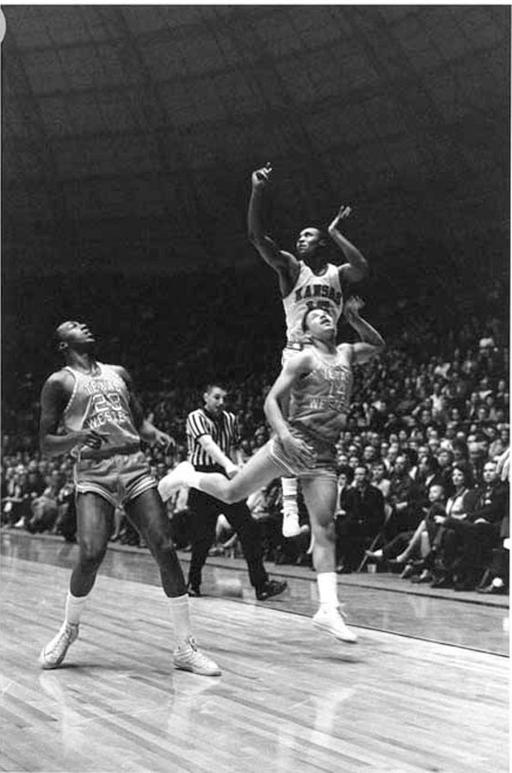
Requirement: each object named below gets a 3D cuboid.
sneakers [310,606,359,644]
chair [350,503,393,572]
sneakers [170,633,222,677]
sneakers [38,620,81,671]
[{"bbox_3d":[0.311,0.956,2.799,0.150,0.129,0.149,2,-10,-5],"label":"sneakers"},{"bbox_3d":[0.809,1.119,5.093,0.303,0.475,0.362,-1,-21,-2],"label":"chair"},{"bbox_3d":[-0.212,0.965,2.527,0.244,0.128,0.087,0,1,41],"label":"sneakers"},{"bbox_3d":[-0.756,0.960,2.619,0.122,0.176,0.306,4,-10,-17],"label":"sneakers"}]
